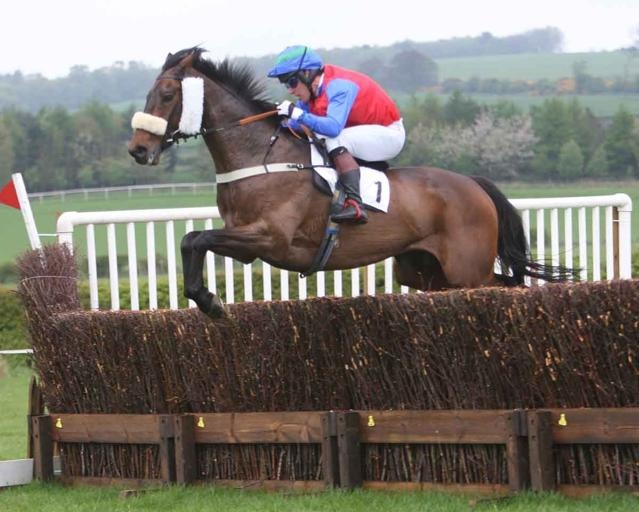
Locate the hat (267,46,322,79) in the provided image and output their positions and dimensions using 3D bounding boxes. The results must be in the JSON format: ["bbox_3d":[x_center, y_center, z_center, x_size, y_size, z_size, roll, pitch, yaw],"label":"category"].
[{"bbox_3d":[-0.296,-2.463,20.815,0.745,0.365,0.536,-5,8,16],"label":"hat"}]

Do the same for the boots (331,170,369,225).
[{"bbox_3d":[0.341,-0.713,20.496,0.517,0.658,0.282,7,-39,-3],"label":"boots"}]

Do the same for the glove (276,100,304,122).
[{"bbox_3d":[-0.372,-1.800,20.540,0.330,0.182,0.104,24,10,20],"label":"glove"}]
